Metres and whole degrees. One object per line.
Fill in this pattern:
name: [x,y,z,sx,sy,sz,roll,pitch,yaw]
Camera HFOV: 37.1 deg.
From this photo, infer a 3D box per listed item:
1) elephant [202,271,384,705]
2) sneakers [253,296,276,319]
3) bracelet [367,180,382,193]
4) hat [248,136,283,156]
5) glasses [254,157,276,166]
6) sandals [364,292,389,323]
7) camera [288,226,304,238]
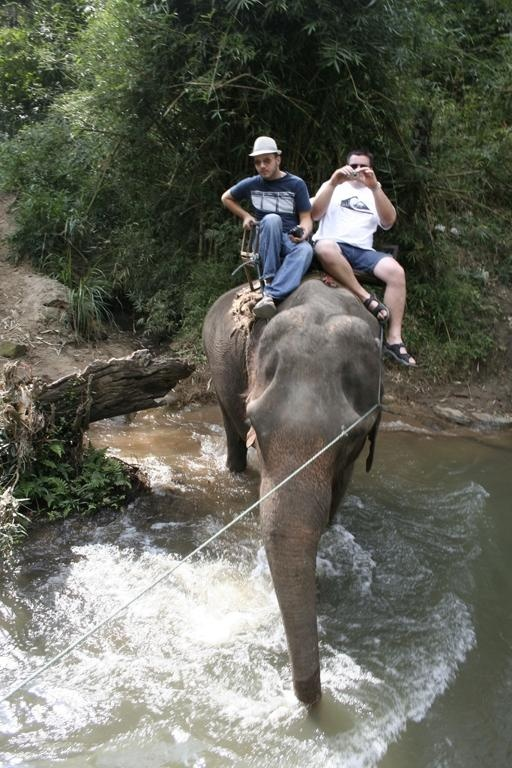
elephant: [0.137,0.284,3.128,0.652,1.450,1.521,2,9,-4]
sneakers: [0.036,-0.303,3.097,0.058,0.070,0.118,5,-34,0]
bracelet: [0.574,-0.947,3.634,0.045,0.065,0.071,-22,31,-3]
hat: [0.027,-1.136,3.608,0.140,0.084,0.173,-2,10,5]
glasses: [0.039,-1.041,3.569,0.052,0.026,0.063,-4,-11,13]
sandals: [0.522,-0.338,3.358,0.046,0.062,0.160,22,21,-46]
camera: [0.172,-0.683,3.429,0.026,0.054,0.071,39,-2,-20]
